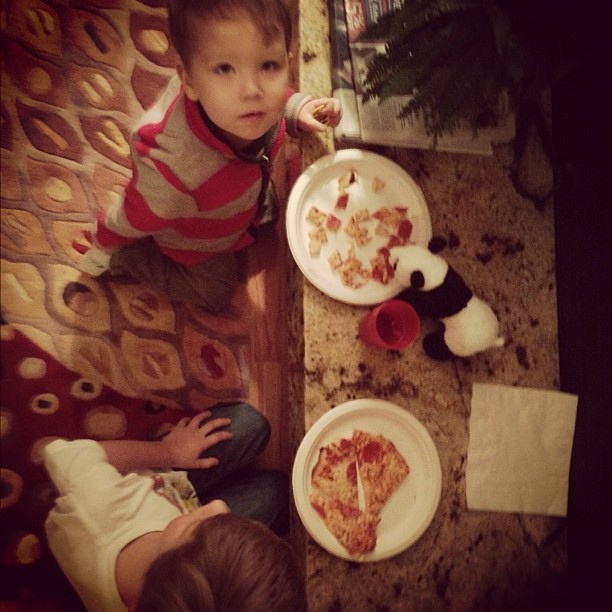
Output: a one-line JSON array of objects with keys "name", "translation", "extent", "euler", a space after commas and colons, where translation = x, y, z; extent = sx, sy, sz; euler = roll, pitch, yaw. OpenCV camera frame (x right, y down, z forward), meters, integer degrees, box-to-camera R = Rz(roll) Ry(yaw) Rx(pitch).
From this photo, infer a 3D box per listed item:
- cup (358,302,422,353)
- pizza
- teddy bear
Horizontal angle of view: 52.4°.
[{"name": "cup", "translation": [0.197, 0.045, 1.402], "extent": [0.106, 0.126, 0.132], "euler": [-14, 92, -13]}, {"name": "pizza", "translation": [0.104, 0.398, 1.386], "extent": [0.197, 0.030, 0.255], "euler": [28, 81, 8]}, {"name": "teddy bear", "translation": [0.315, 0.001, 1.440], "extent": [0.183, 0.149, 0.306], "euler": [-40, 100, -27]}]
